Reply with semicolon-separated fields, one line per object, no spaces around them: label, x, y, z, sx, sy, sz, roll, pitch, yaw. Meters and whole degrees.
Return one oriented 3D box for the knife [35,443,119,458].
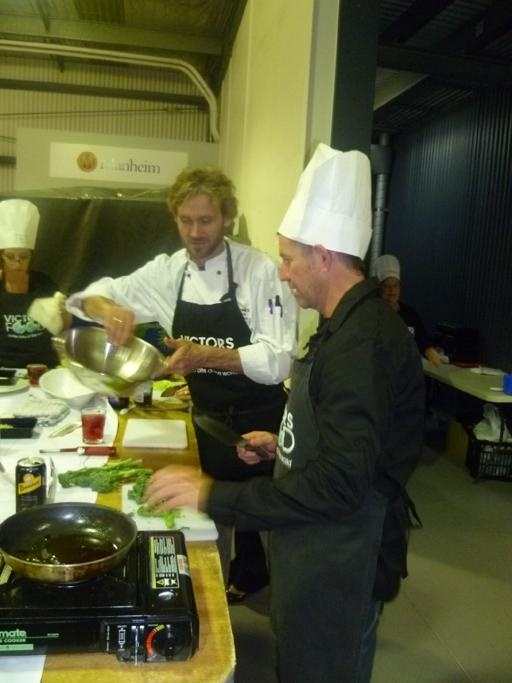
knife;-0.510;0.309;1.577;0.257;0.043;0.042;2;46;-4

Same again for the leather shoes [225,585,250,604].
leather shoes;-0.079;1.054;2.392;0.084;0.095;0.242;-2;-17;5

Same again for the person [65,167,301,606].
person;-0.243;0.193;2.135;0.845;1.578;0.574;-9;18;-25

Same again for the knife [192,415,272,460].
knife;-0.086;0.298;1.713;0.075;0.047;0.311;-36;46;-29

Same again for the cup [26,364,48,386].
cup;-0.919;0.143;2.360;0.092;0.098;0.092;2;-5;0
